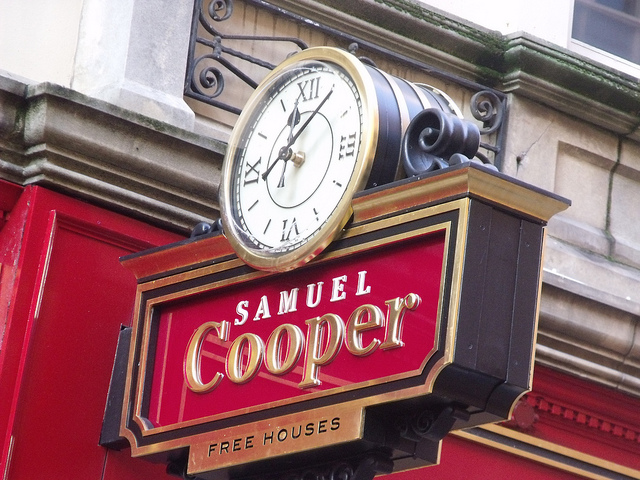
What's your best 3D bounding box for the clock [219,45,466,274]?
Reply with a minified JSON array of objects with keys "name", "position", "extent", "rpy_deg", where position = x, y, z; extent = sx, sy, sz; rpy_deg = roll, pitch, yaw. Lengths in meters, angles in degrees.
[{"name":"clock","position":[0.086,-0.408,11.725],"extent":[0.772,1.081,1.082],"rpy_deg":[16,-26,-33]}]
